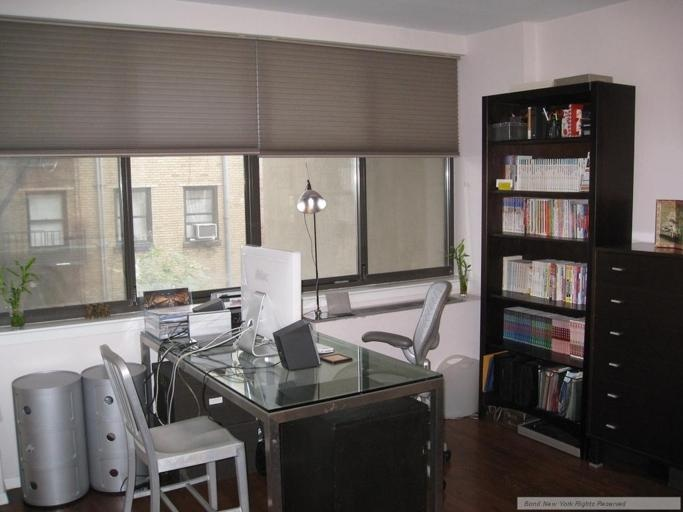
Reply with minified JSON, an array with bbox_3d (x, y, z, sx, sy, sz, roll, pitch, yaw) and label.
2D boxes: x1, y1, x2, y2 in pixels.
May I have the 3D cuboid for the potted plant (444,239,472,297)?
[{"bbox_3d":[1.138,0.098,5.212,0.203,0.502,0.384,-1,10,-5],"label":"potted plant"}]

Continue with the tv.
[{"bbox_3d":[-0.437,0.291,3.313,0.207,0.614,0.613,-7,9,-34],"label":"tv"}]

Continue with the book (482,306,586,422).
[{"bbox_3d":[1.596,0.899,4.462,0.330,0.878,1.010,-2,4,-39],"label":"book"}]

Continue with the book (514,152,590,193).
[{"bbox_3d":[1.632,-0.654,4.312,0.226,0.286,0.635,-5,11,-24],"label":"book"}]

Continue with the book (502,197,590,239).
[{"bbox_3d":[1.648,-0.315,4.425,0.163,0.303,0.761,-8,12,-39],"label":"book"}]

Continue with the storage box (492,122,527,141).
[{"bbox_3d":[1.366,-1.002,4.467,0.186,0.115,0.187,7,13,43],"label":"storage box"}]

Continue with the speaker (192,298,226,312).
[{"bbox_3d":[-0.923,0.354,3.765,0.227,0.084,0.252,-3,10,-14],"label":"speaker"}]

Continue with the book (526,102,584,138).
[{"bbox_3d":[1.680,-1.005,4.251,0.534,0.314,0.377,5,11,32],"label":"book"}]
